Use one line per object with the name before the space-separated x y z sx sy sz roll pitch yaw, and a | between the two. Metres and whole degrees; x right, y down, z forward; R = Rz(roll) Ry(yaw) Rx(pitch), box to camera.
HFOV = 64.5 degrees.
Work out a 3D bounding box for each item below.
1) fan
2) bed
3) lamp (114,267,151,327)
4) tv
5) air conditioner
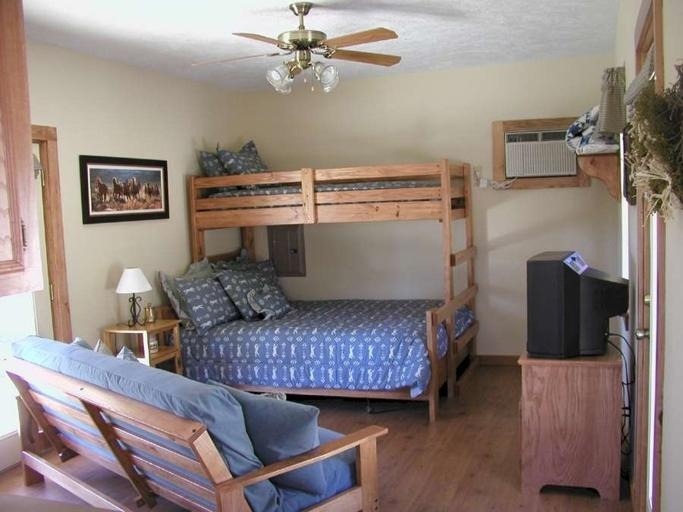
fan | -0.088 -1.425 3.530 0.913 0.380 0.842 -1 7 5
bed | -0.203 0.114 5.230 2.418 1.793 1.314 -2 5 -9
lamp | -1.708 0.321 4.426 0.260 0.479 0.488 -5 8 -20
tv | 1.388 0.262 3.284 0.616 0.572 0.622 1 2 25
air conditioner | 1.942 -1.002 5.324 0.656 0.410 0.317 -1 7 10
